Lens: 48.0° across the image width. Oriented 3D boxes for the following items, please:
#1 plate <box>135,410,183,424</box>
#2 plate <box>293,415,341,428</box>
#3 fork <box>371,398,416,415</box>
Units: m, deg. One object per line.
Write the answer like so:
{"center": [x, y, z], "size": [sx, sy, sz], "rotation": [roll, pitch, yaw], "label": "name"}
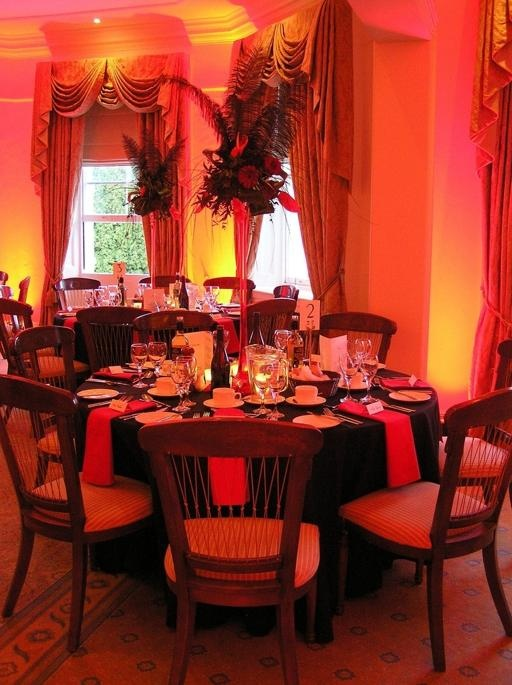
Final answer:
{"center": [-0.321, 0.242, 1.899], "size": [0.149, 0.013, 0.164], "rotation": [-3, 8, -13], "label": "plate"}
{"center": [0.197, 0.253, 1.859], "size": [0.150, 0.023, 0.163], "rotation": [0, 8, 11], "label": "plate"}
{"center": [0.497, 0.218, 2.094], "size": [0.059, 0.030, 0.249], "rotation": [-15, 7, -28], "label": "fork"}
